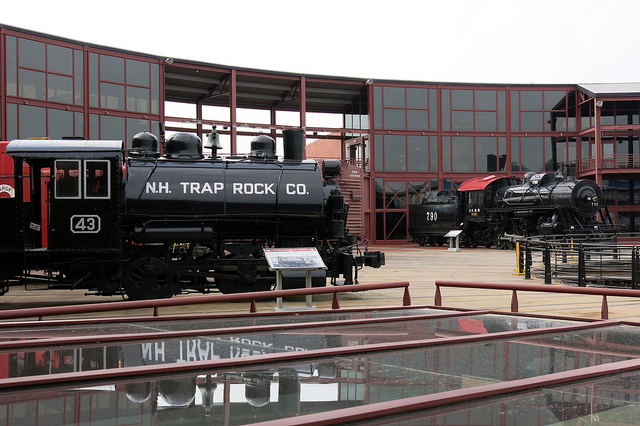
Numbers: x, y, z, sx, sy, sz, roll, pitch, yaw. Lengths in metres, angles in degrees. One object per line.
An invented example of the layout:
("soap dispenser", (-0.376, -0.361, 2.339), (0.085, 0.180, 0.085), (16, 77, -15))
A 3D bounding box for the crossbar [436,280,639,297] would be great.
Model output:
("crossbar", (4.676, 1.561, 14.895), (3.913, 0.255, 0.758), (-2, -2, 31))

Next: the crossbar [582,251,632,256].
("crossbar", (7.747, 1.039, 18.951), (0.818, 0.090, 1.102), (0, -2, -27))

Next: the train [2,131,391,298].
("train", (-1.643, -0.052, 19.516), (13.056, 4.622, 3.538), (-1, 3, -12))

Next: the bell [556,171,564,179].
("bell", (12.595, -2.004, 36.768), (0.190, 0.407, 0.634), (-3, -3, 34))

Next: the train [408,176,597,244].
("train", (10.179, -0.108, 39.512), (3.900, 3.541, 12.389), (-5, 3, -29))
